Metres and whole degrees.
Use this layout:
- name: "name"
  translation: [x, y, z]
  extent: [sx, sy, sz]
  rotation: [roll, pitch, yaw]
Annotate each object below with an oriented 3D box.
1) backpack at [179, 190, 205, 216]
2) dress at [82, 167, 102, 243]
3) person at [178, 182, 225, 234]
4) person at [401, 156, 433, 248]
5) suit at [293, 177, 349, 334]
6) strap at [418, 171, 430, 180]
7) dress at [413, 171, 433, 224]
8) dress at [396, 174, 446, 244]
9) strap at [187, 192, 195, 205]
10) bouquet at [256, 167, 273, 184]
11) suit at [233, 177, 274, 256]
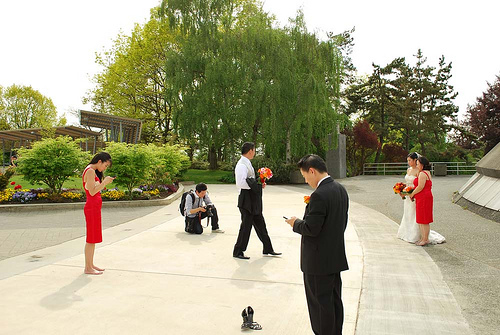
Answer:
- name: "backpack"
  translation: [-1.652, 0.892, 9.375]
  extent: [0.594, 0.663, 0.447]
  rotation: [-3, 8, -22]
- name: "dress"
  translation: [-3.038, 0.934, 6.456]
  extent: [0.281, 1.029, 0.215]
  rotation: [0, 5, -28]
- name: "person"
  translation: [-1.356, 1.102, 9.136]
  extent: [1.080, 1.377, 0.558]
  rotation: [1, 4, -13]
- name: "person"
  translation: [4.261, 0.815, 8.406]
  extent: [0.684, 2.190, 0.578]
  rotation: [4, 5, 29]
- name: "suit"
  translation: [0.953, 1.161, 4.454]
  extent: [0.695, 2.065, 0.362]
  rotation: [2, 4, 5]
- name: "strap"
  translation: [4.312, 0.202, 8.283]
  extent: [0.186, 0.188, 0.047]
  rotation: [12, 12, 12]
- name: "dress"
  translation: [4.343, 0.841, 8.339]
  extent: [0.373, 1.088, 0.283]
  rotation: [3, 4, 18]
- name: "dress"
  translation: [4.730, 1.220, 9.476]
  extent: [1.520, 2.425, 1.184]
  rotation: [1, 1, 31]
- name: "strap"
  translation: [-1.566, 0.844, 9.120]
  extent: [0.166, 0.298, 0.112]
  rotation: [6, 6, 45]
- name: "bouquet"
  translation: [0.334, 0.159, 7.492]
  extent: [0.309, 0.332, 0.314]
  rotation: [2, 27, 33]
- name: "suit"
  translation: [0.067, 1.066, 7.290]
  extent: [0.801, 1.722, 0.347]
  rotation: [2, 4, -7]
